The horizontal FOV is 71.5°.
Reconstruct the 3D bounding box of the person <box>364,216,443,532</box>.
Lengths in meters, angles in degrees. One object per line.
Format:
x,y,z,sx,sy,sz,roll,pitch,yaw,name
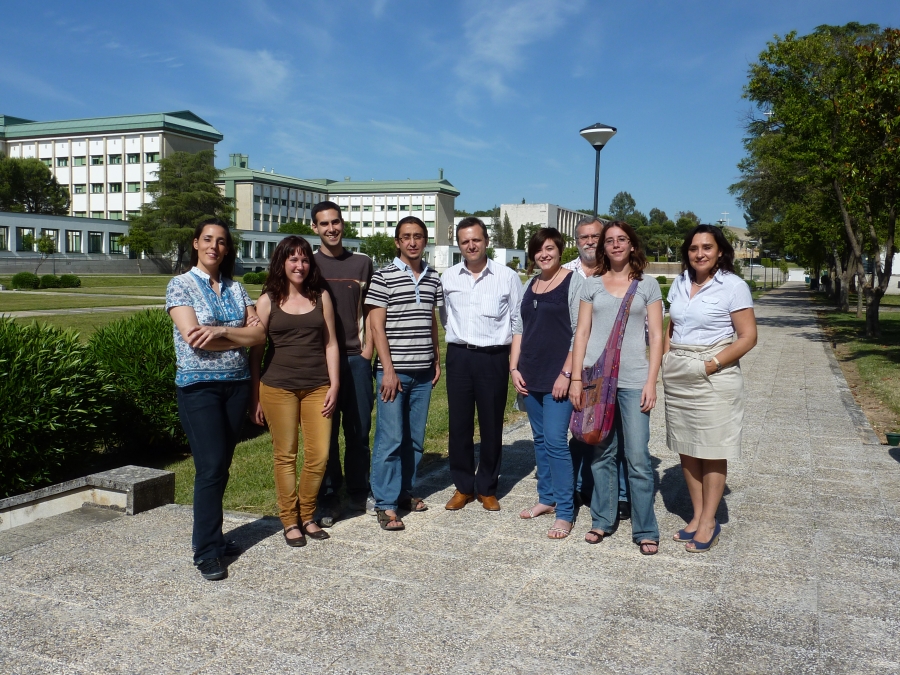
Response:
-0.358,0.257,5.051,0.622,2.454,0.546,-1,5,-11,person

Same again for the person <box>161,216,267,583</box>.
-1.647,0.354,4.313,0.518,2.351,0.747,1,5,12,person

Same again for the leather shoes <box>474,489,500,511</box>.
0.341,1.405,5.374,0.088,0.116,0.248,-1,-1,-14,leather shoes

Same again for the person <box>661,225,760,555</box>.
1.870,0.361,4.539,0.613,2.340,0.419,2,5,24,person

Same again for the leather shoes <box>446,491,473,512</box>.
0.088,1.420,5.415,0.096,0.134,0.299,-2,-7,26,leather shoes

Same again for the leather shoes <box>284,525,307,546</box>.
-1.143,1.451,4.620,0.158,0.127,0.195,-1,6,-16,leather shoes

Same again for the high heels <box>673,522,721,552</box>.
1.834,1.476,4.623,0.254,0.116,0.152,5,-6,-36,high heels

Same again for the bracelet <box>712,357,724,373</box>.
1.869,0.190,4.332,0.043,0.093,0.068,-5,1,12,bracelet

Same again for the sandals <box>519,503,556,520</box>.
0.731,1.443,5.186,0.220,0.066,0.119,3,-5,-15,sandals

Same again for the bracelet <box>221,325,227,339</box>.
-1.534,-0.045,4.257,0.050,0.071,0.060,-1,-7,-8,bracelet

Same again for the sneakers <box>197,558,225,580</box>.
-1.541,1.507,4.055,0.164,0.107,0.121,-2,6,-25,sneakers

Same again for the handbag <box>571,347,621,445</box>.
1.042,0.437,4.479,0.325,0.667,0.218,1,5,14,handbag

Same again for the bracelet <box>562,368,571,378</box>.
0.891,0.273,4.751,0.048,0.036,0.060,5,-36,15,bracelet

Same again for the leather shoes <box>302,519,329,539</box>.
-1.026,1.457,4.747,0.248,0.083,0.092,3,1,44,leather shoes
